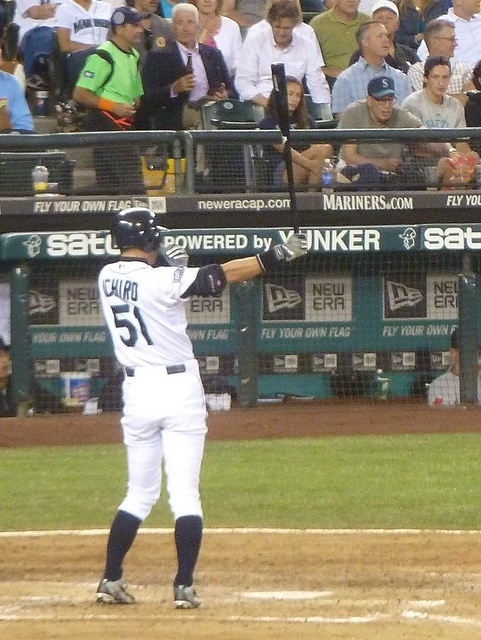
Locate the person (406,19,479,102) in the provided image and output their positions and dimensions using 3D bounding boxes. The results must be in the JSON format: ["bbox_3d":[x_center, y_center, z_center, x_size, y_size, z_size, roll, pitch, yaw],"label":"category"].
[{"bbox_3d":[1.708,-2.146,13.539,0.545,0.776,0.412,-5,1,-38],"label":"person"}]

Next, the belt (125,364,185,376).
[{"bbox_3d":[-0.440,0.261,8.272,0.324,0.058,0.060,-2,-3,13],"label":"belt"}]

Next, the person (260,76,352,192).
[{"bbox_3d":[0.487,-1.322,12.265,0.566,1.085,0.395,5,13,40],"label":"person"}]

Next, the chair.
[{"bbox_3d":[-0.029,-1.347,12.300,0.519,0.721,0.444,0,-2,-20],"label":"chair"}]

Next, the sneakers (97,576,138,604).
[{"bbox_3d":[-0.641,1.414,8.415,0.183,0.131,0.116,11,-6,-12],"label":"sneakers"}]

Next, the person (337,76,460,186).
[{"bbox_3d":[1.270,-1.497,12.306,1.079,0.800,0.572,-3,1,44],"label":"person"}]

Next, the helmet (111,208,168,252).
[{"bbox_3d":[-0.510,-0.461,8.484,0.322,0.266,0.258,-3,1,4],"label":"helmet"}]

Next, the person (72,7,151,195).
[{"bbox_3d":[-0.989,-1.672,12.317,0.544,1.440,0.607,-1,-2,-11],"label":"person"}]

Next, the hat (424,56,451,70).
[{"bbox_3d":[1.567,-2.032,12.783,0.195,0.124,0.226,-1,-3,4],"label":"hat"}]

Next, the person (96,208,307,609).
[{"bbox_3d":[-0.313,0.574,8.284,0.915,1.823,0.275,-1,-2,6],"label":"person"}]

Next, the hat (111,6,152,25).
[{"bbox_3d":[-0.846,-2.300,12.319,0.236,0.125,0.165,-12,25,6],"label":"hat"}]

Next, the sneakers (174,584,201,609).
[{"bbox_3d":[-0.271,1.411,8.238,0.122,0.122,0.053,-1,-2,-3],"label":"sneakers"}]

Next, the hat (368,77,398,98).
[{"bbox_3d":[1.083,-1.777,12.349,0.207,0.178,0.192,-1,-2,6],"label":"hat"}]

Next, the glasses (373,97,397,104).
[{"bbox_3d":[1.125,-1.687,12.349,0.189,0.054,0.089,0,-3,-26],"label":"glasses"}]
